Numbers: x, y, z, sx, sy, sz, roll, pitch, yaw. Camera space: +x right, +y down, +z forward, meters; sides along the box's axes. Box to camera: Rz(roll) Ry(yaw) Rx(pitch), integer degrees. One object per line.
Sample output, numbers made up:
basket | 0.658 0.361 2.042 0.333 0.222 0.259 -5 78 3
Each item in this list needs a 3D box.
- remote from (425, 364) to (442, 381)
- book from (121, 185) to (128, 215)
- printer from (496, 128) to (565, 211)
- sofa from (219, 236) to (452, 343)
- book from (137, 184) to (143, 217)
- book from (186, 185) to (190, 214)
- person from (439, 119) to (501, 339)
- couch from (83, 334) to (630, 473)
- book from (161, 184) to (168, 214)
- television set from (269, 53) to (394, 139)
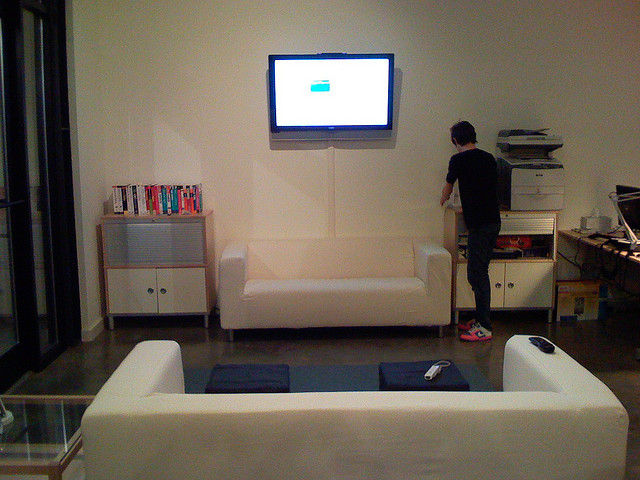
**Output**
remote | 0.675 0.804 3.236 0.057 0.026 0.098 4 27 39
book | -1.958 -0.398 5.329 0.046 0.275 0.028 1 11 18
printer | 2.102 -0.686 5.649 0.709 0.927 0.552 2 9 -4
sofa | 0.109 0.452 5.464 2.248 0.911 0.932 0 6 -5
book | -1.806 -0.402 5.337 0.056 0.282 0.033 -6 11 -21
book | -1.341 -0.416 5.404 0.027 0.264 0.054 -2 10 1
person | 1.439 0.047 5.074 0.512 1.818 0.312 0 10 9
couch | 0.092 0.796 2.713 1.515 0.627 0.772 0 10 0
book | -1.560 -0.412 5.342 0.050 0.214 0.213 2 9 -13
television set | 0.102 -1.514 5.422 1.228 0.725 0.070 0 5 -3
